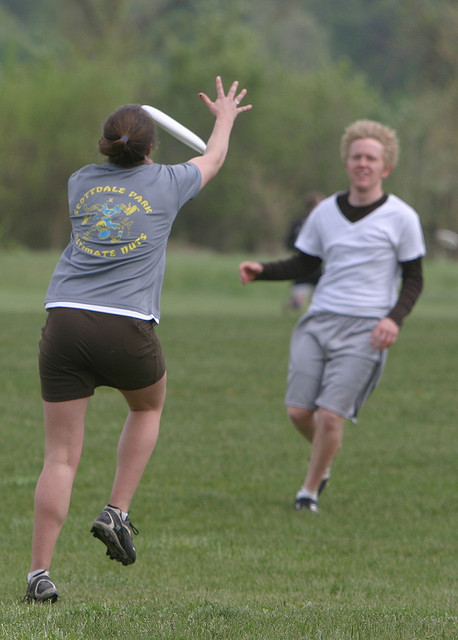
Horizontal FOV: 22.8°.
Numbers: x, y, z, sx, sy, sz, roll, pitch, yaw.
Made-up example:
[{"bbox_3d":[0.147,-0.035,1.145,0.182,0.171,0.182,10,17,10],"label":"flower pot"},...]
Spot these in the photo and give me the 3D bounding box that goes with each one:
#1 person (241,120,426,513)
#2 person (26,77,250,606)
[{"bbox_3d":[0.488,-0.030,5.026,0.300,1.714,0.734,7,15,-40],"label":"person"},{"bbox_3d":[-0.477,0.135,4.535,0.643,1.997,0.723,14,12,-8],"label":"person"}]
